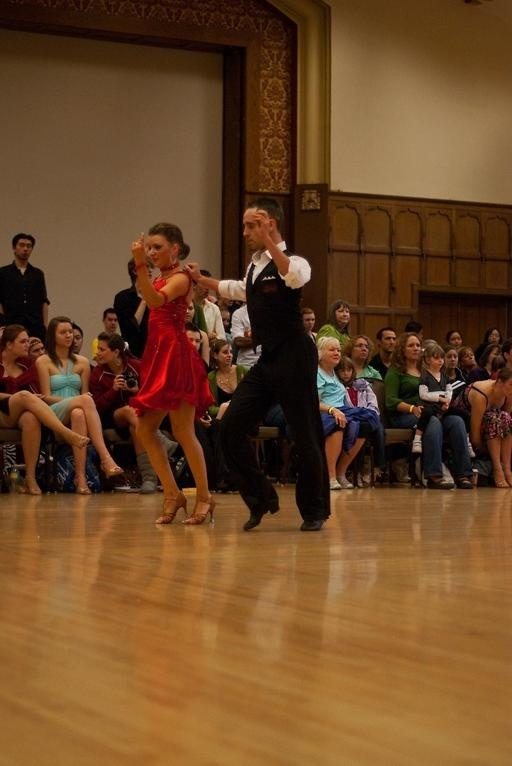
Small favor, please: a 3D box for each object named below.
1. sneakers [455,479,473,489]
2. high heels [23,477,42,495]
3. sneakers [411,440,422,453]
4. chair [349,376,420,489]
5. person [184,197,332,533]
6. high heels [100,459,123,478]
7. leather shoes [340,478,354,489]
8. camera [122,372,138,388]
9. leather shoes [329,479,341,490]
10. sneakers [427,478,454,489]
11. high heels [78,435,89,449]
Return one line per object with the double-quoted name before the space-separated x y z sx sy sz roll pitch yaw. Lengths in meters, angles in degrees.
"sneakers" 2.203 1.057 6.678 0.075 0.084 0.218 -1 -5 3
"high heels" -1.962 0.935 5.667 0.096 0.178 0.267 -4 -10 -31
"sneakers" 1.728 0.685 6.829 0.094 0.148 0.132 2 1 11
"chair" 1.435 0.591 7.152 0.724 1.254 1.198 2 1 24
"person" 0.071 -0.109 3.447 0.683 1.858 0.443 1 1 6
"high heels" -1.303 0.796 5.792 0.131 0.139 0.343 -9 1 -28
"leather shoes" 0.948 1.051 6.633 0.132 0.104 0.294 1 1 9
"camera" -1.166 -0.016 5.953 0.122 0.070 0.161 5 12 -8
"leather shoes" 0.785 1.030 6.379 0.086 0.089 0.213 -1 -7 -7
"sneakers" 1.933 1.057 6.673 0.106 0.109 0.278 1 -5 -27
"high heels" -1.513 0.523 5.603 0.069 0.056 0.160 12 -4 -4
